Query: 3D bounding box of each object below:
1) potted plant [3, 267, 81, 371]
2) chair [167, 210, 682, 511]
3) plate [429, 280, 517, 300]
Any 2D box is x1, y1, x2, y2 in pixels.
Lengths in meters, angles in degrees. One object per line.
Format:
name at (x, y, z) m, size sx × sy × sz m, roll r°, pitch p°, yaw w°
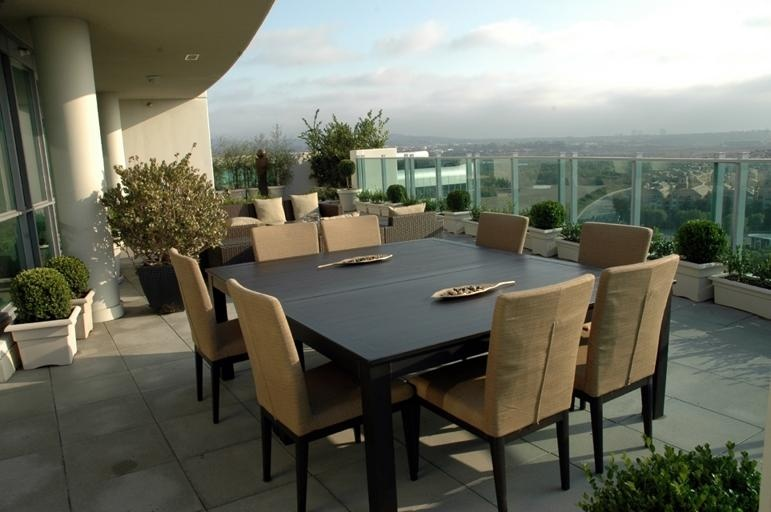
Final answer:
potted plant at (-3.488, 0.639, 5.048) m, size 0.620 × 0.986 × 0.391 m, roll -13°, pitch 15°, yaw -32°
chair at (0.261, 0.527, 4.215) m, size 3.164 × 1.539 × 3.216 m, roll -13°, pitch 14°, yaw -35°
plate at (0.651, 0.250, 3.663) m, size 0.639 × 0.066 × 0.209 m, roll -6°, pitch 10°, yaw -30°
